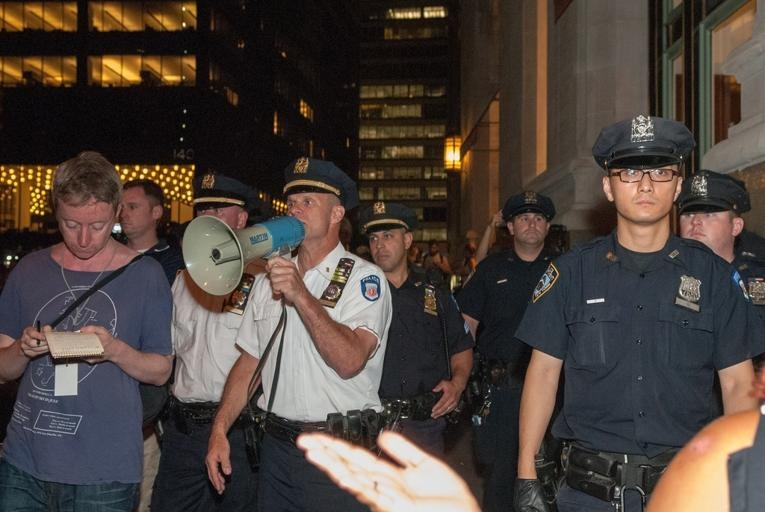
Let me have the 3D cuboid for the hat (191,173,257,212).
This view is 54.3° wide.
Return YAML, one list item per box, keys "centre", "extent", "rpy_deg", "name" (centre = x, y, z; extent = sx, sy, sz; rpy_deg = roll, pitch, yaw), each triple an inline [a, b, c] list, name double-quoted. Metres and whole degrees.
- centre: [-1.467, -0.580, 7.083]
  extent: [0.449, 0.380, 0.617]
  rpy_deg: [-1, 4, -27]
  name: "hat"

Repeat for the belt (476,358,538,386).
- centre: [1.219, 1.190, 7.546]
  extent: [0.428, 0.210, 0.329]
  rpy_deg: [3, -14, 1]
  name: "belt"

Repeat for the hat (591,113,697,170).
- centre: [1.787, -0.786, 5.195]
  extent: [0.549, 0.566, 0.409]
  rpy_deg: [-4, 22, -32]
  name: "hat"

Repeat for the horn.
- centre: [-0.959, -0.049, 5.168]
  extent: [0.658, 0.542, 0.436]
  rpy_deg: [-11, 19, -37]
  name: "horn"
